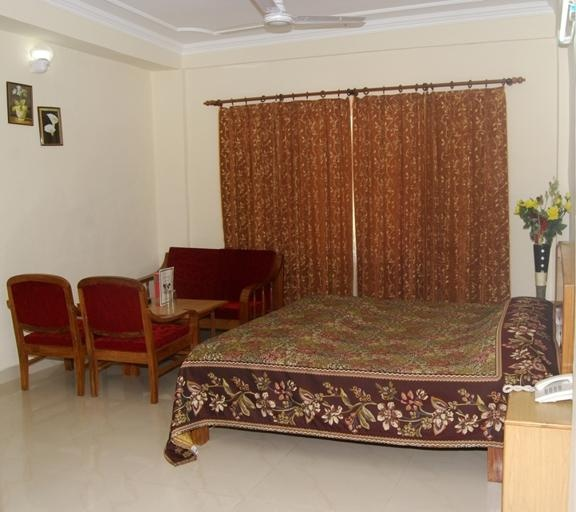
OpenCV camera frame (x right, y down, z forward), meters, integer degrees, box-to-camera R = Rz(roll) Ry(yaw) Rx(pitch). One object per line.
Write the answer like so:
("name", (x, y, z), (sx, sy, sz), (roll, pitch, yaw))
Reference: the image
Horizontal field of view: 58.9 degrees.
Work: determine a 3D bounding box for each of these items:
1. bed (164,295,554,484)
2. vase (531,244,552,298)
("bed", (0.424, 0.681, 3.069), (1.414, 0.457, 1.469), (0, 7, 17))
("vase", (2.276, 0.124, 4.579), (0.126, 0.488, 0.286), (3, 7, 27))
